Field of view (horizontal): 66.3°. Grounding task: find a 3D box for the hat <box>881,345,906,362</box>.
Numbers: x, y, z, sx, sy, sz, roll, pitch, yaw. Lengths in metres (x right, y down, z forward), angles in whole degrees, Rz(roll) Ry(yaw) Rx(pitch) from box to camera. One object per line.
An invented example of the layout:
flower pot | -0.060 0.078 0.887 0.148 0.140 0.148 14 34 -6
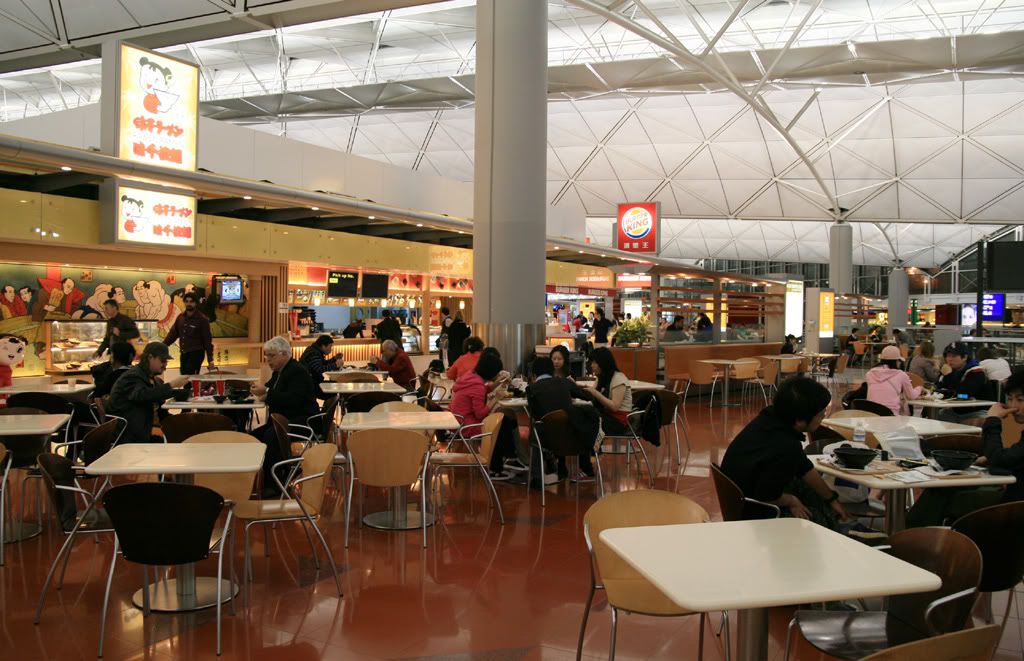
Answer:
hat | 5.317 0.312 10.995 0.282 0.135 0.289 2 5 33

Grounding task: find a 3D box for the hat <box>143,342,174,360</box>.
hat | -3.921 0.216 8.714 0.251 0.125 0.178 6 2 -40

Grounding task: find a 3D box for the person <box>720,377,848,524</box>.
person | 2.256 1.028 6.498 0.975 1.264 0.503 -4 14 -20

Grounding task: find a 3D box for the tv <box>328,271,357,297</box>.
tv | -3.466 -0.957 15.930 0.550 0.451 0.204 2 -5 -39

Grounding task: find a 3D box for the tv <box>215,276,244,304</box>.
tv | -5.250 -0.769 14.491 0.307 0.512 0.547 -2 -2 34
